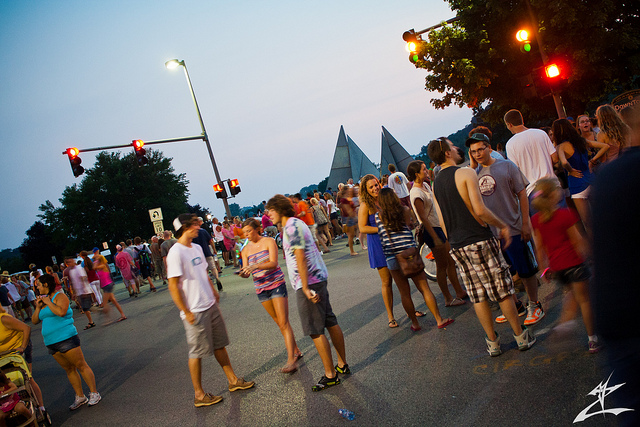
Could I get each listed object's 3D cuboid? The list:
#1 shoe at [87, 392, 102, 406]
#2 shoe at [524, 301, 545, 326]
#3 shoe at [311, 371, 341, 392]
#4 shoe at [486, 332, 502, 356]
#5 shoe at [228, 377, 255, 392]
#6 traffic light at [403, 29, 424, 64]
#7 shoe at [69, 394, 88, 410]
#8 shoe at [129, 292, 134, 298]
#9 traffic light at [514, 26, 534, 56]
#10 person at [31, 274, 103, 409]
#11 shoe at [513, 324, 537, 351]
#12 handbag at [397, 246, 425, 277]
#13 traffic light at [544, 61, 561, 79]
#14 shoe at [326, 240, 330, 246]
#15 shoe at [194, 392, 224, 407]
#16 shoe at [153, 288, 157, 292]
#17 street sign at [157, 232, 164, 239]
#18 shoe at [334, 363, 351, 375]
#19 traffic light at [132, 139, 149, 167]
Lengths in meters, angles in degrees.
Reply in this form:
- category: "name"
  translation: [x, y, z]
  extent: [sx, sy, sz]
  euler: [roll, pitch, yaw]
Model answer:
- category: "shoe"
  translation: [-3.973, 3.272, 5.914]
  extent: [0.115, 0.151, 0.324]
  euler: [-3, -9, -1]
- category: "shoe"
  translation: [3.102, 1.452, 4.889]
  extent: [0.492, 0.313, 0.174]
  euler: [-5, -14, -40]
- category: "shoe"
  translation: [0.083, 2.313, 4.665]
  extent: [0.478, 0.216, 0.169]
  euler: [-10, 5, -10]
- category: "shoe"
  translation: [2.230, 1.695, 4.390]
  extent: [0.133, 0.232, 0.363]
  euler: [-2, 11, 7]
- category: "shoe"
  translation: [-1.193, 2.607, 5.085]
  extent: [0.414, 0.191, 0.156]
  euler: [-4, -8, 3]
- category: "traffic light"
  translation: [3.802, -6.887, 13.880]
  extent: [0.455, 1.124, 1.495]
  euler: [-11, 3, 20]
- category: "shoe"
  translation: [-4.240, 3.342, 5.999]
  extent: [0.109, 0.147, 0.311]
  euler: [-11, 5, 40]
- category: "shoe"
  translation: [-9.032, 3.930, 16.185]
  extent: [0.166, 0.221, 0.557]
  euler: [-15, 3, -37]
- category: "traffic light"
  translation: [8.003, -6.892, 13.156]
  extent: [0.434, 0.800, 1.012]
  euler: [-10, 4, 41]
- category: "person"
  translation: [-4.473, 2.235, 5.926]
  extent: [0.709, 2.853, 0.461]
  euler: [-11, 3, 21]
- category: "shoe"
  translation: [2.663, 1.601, 4.387]
  extent: [0.167, 0.256, 0.404]
  euler: [-4, 3, 31]
- category: "handbag"
  translation: [1.456, 0.761, 5.403]
  extent: [0.415, 0.471, 0.242]
  euler: [-21, 2, -4]
- category: "traffic light"
  translation: [9.306, -5.776, 13.518]
  extent: [0.541, 0.583, 0.346]
  euler: [-3, 8, 37]
- category: "shoe"
  translation: [0.419, 1.492, 17.589]
  extent: [0.135, 0.254, 0.285]
  euler: [-13, 3, -10]
- category: "shoe"
  translation: [-1.619, 2.727, 4.977]
  extent: [0.409, 0.187, 0.166]
  euler: [-3, -1, -2]
- category: "shoe"
  translation: [-8.020, 3.671, 16.314]
  extent: [0.117, 0.197, 0.410]
  euler: [-14, 3, -28]
- category: "street sign"
  translation: [-8.386, 1.124, 17.696]
  extent: [0.327, 0.478, 0.162]
  euler: [10, -7, 22]
- category: "shoe"
  translation: [0.336, 2.231, 4.798]
  extent: [0.096, 0.123, 0.260]
  euler: [0, 2, -44]
- category: "traffic light"
  translation: [-8.926, -3.020, 16.772]
  extent: [0.490, 1.474, 0.815]
  euler: [-14, 3, -27]
